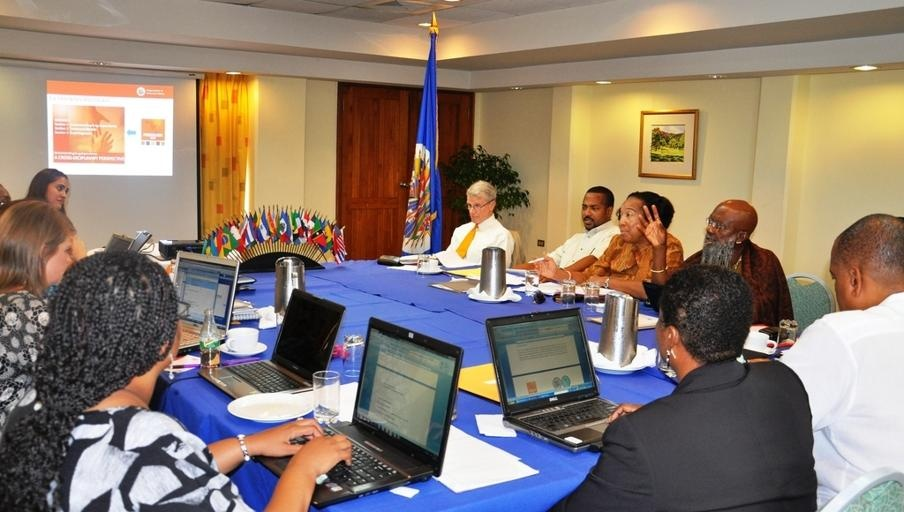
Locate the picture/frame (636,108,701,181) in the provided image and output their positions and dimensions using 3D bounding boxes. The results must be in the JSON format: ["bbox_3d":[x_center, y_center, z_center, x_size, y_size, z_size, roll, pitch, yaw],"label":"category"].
[{"bbox_3d":[2.681,-1.372,7.204,0.931,0.951,0.075,8,3,41],"label":"picture/frame"}]

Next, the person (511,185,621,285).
[{"bbox_3d":[1.097,-0.108,5.656,1.133,1.092,0.826,5,-4,-9],"label":"person"}]

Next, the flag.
[{"bbox_3d":[-0.308,-1.112,5.631,0.361,2.284,0.703,-1,10,3],"label":"flag"}]

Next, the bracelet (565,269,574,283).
[{"bbox_3d":[0.881,0.155,4.439,0.036,0.088,0.078,-2,-18,2],"label":"bracelet"}]

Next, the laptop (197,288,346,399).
[{"bbox_3d":[-0.871,0.460,2.838,0.580,0.348,0.569,-1,8,-36],"label":"laptop"}]

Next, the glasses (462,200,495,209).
[{"bbox_3d":[0.279,-0.490,5.606,0.256,0.069,0.202,-2,8,-3],"label":"glasses"}]

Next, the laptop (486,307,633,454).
[{"bbox_3d":[0.425,0.520,2.679,0.600,0.546,0.414,-3,-2,-27],"label":"laptop"}]

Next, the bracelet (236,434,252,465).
[{"bbox_3d":[-0.827,0.773,2.379,0.065,0.104,0.103,-9,-3,-6],"label":"bracelet"}]
